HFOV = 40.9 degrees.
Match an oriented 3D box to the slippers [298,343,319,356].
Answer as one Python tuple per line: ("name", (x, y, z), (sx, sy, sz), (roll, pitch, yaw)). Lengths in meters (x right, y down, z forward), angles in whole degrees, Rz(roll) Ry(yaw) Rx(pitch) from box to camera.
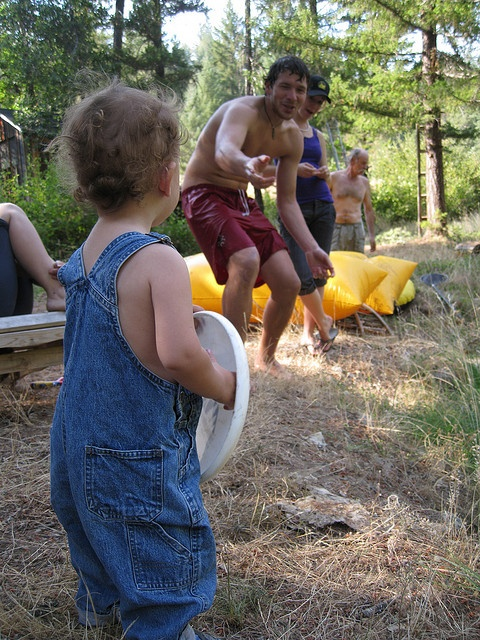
("slippers", (0.439, 0.178, 4.056), (0.088, 0.032, 0.087), (20, -5, -27))

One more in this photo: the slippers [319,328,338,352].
("slippers", (0.581, 0.107, 4.113), (0.055, 0.203, 0.079), (28, -15, -24))
